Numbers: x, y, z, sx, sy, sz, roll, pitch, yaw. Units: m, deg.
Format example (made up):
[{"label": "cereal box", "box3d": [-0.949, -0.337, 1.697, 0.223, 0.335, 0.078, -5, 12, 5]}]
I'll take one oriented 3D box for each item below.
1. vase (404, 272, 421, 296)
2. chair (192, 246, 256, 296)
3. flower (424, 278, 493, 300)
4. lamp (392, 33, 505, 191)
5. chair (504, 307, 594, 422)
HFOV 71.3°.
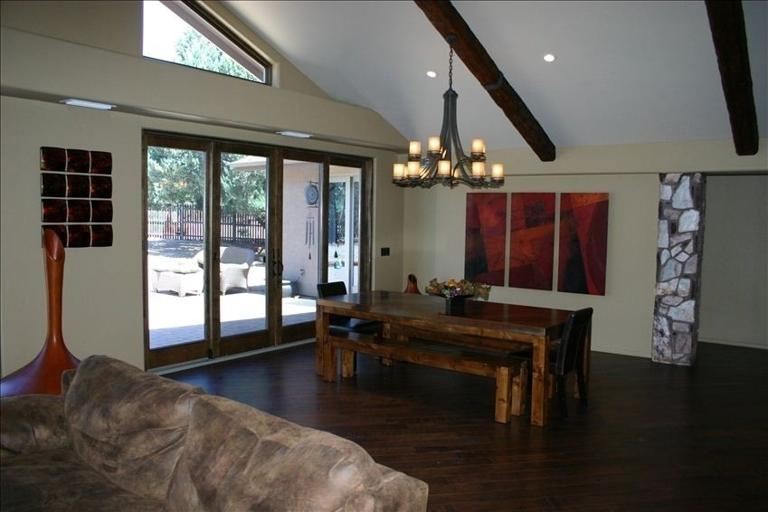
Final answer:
[{"label": "vase", "box3d": [0.441, 0.452, 8.470, 0.273, 0.283, 0.275, 0, 0, 0]}, {"label": "chair", "box3d": [-2.132, 0.190, 7.274, 0.521, 0.621, 0.632, 2, -1, 31]}, {"label": "flower", "box3d": [0.863, 0.367, 5.844, 0.432, 0.146, 0.388, 2, 0, -23]}, {"label": "lamp", "box3d": [0.672, -1.675, 5.563, 1.147, 1.759, 1.190, -2, 13, -19]}, {"label": "chair", "box3d": [1.865, 1.017, 5.557, 0.524, 1.083, 0.957, 8, 12, 37]}]
